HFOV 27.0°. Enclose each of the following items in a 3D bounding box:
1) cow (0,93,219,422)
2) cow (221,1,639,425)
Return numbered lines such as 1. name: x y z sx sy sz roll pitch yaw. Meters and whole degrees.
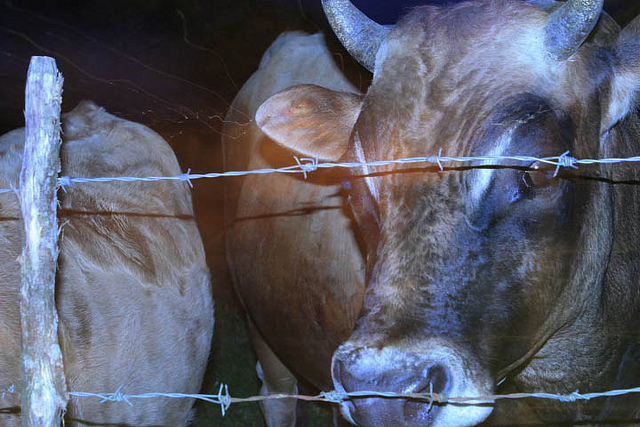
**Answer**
1. cow: -1.672 0.355 10.257 1.736 2.562 0.703 0 -4 -41
2. cow: 0.692 -0.023 9.776 3.047 3.243 1.804 -5 -4 45
